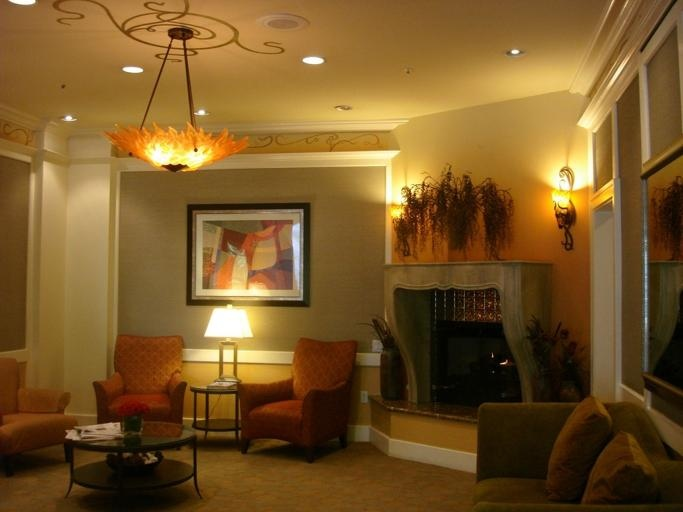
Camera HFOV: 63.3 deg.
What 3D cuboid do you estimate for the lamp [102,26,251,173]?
[{"bbox_3d":[-1.296,-1.290,4.495,1.050,1.136,1.040,0,4,-11],"label":"lamp"}]

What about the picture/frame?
[{"bbox_3d":[-1.070,-0.002,6.757,1.248,1.077,0.097,1,-4,4],"label":"picture/frame"}]

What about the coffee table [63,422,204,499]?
[{"bbox_3d":[-1.700,1.754,4.611,1.081,0.544,0.797,2,-3,-23],"label":"coffee table"}]

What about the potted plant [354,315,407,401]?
[{"bbox_3d":[0.516,1.160,6.298,0.429,0.909,0.411,0,-2,11],"label":"potted plant"}]

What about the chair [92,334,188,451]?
[{"bbox_3d":[-2.216,1.516,6.344,0.938,1.139,0.885,2,-3,-7],"label":"chair"}]

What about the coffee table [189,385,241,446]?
[{"bbox_3d":[-1.436,1.775,6.266,0.743,0.568,0.648,3,-5,-26],"label":"coffee table"}]

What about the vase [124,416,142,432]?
[{"bbox_3d":[-1.749,1.409,4.697,0.146,0.142,0.139,0,-5,-3],"label":"vase"}]

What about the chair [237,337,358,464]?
[{"bbox_3d":[-0.430,1.517,6.123,1.000,1.173,1.053,-5,-10,31],"label":"chair"}]

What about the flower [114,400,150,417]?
[{"bbox_3d":[-1.766,1.301,4.683,0.222,0.180,0.261,2,-3,-25],"label":"flower"}]

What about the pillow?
[{"bbox_3d":[1.445,1.095,3.084,0.205,0.381,0.558,21,3,-12],"label":"pillow"}]
